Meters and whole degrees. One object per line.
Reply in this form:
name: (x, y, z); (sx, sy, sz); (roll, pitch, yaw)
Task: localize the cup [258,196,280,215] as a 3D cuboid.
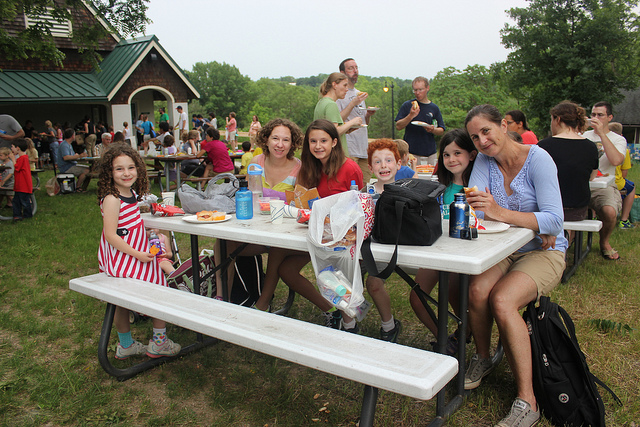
cup: (-0.525, -0.072, 4.437); (0.187, 0.130, 0.185); (0, 2, 0)

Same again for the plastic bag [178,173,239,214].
plastic bag: (-1.126, -0.254, 4.770); (0.606, 0.338, 0.821); (4, 22, 5)

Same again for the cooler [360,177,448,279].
cooler: (0.628, 0.069, 3.507); (0.583, 0.792, 0.520); (-2, 1, -1)

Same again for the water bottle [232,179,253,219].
water bottle: (-0.719, -0.135, 4.331); (0.155, 0.345, 0.225); (1, 12, -8)

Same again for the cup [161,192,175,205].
cup: (-1.523, -0.152, 4.565); (0.138, 0.109, 0.133); (2, 8, 0)

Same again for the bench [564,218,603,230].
bench: (3.051, 0.139, 5.296); (0.339, 0.103, 0.445); (11, 14, 34)

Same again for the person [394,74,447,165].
person: (1.778, -1.655, 8.008); (0.856, 1.567, 1.048); (10, 14, 32)

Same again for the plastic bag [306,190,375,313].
plastic bag: (0.145, 0.286, 3.618); (0.468, 1.012, 0.464); (-1, 1, -15)
